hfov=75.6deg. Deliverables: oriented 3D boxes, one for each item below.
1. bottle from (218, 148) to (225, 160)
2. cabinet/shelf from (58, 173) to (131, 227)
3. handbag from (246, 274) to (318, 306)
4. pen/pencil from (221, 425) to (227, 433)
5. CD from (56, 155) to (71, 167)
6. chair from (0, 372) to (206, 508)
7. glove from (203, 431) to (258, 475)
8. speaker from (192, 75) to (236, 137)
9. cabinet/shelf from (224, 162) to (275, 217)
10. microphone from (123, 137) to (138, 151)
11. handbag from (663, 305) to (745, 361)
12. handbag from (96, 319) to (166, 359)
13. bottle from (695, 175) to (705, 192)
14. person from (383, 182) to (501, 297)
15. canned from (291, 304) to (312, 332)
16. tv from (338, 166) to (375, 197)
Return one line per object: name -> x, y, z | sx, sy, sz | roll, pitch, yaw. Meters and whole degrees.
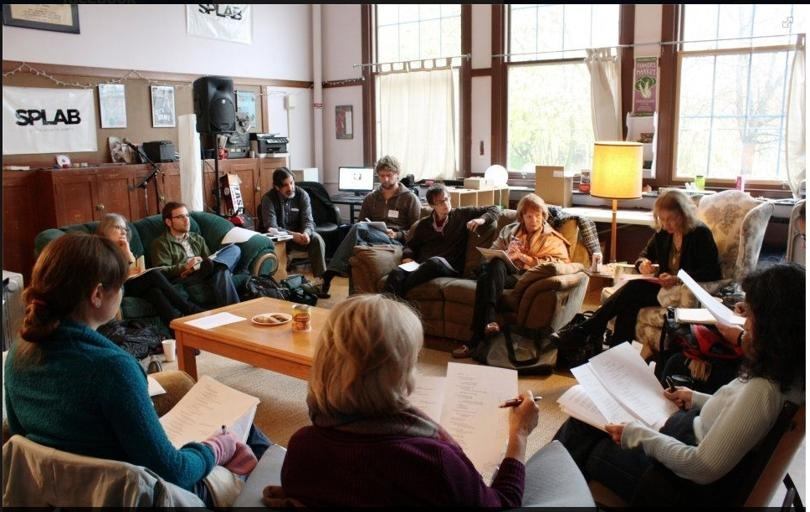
bottle -> -2.550, -1.443, 7.328 | 0.113, 0.137, 0.136 | -1, 0, -10
cabinet/shelf -> -3.575, -0.659, 5.963 | 0.294, 0.702, 0.766 | 4, 8, 36
handbag -> -1.172, 0.309, 4.998 | 0.586, 0.231, 0.346 | 5, 5, 9
pen/pencil -> -0.732, 0.706, 2.136 | 0.026, 0.023, 0.025 | -11, 17, -19
CD -> -4.052, -1.133, 6.213 | 0.167, 0.170, 0.063 | 3, -29, -34
chair -> -1.008, 0.630, 1.856 | 0.416, 0.480, 0.427 | 3, 7, 18
glove -> -0.686, 0.761, 2.079 | 0.174, 0.078, 0.202 | -4, 6, -42
speaker -> -2.360, -1.872, 6.517 | 0.469, 0.698, 0.302 | -4, 11, -21
cabinet/shelf -> -2.214, -0.951, 7.359 | 0.304, 0.815, 0.855 | 4, 15, 29
microphone -> -3.511, -1.445, 6.729 | 0.161, 0.159, 0.327 | -5, 11, -26
handbag -> 1.701, 0.437, 2.946 | 0.282, 0.095, 0.271 | -2, 12, 0
handbag -> -2.126, 0.636, 4.108 | 0.417, 0.141, 0.414 | 13, 6, 21
bottle -> 3.304, -0.822, 5.845 | 0.100, 0.162, 0.377 | 6, 11, 30
person -> 0.200, -0.175, 5.077 | 0.982, 1.105, 1.142 | 4, 3, 30
canned -> -0.667, 0.404, 3.401 | 0.134, 0.164, 0.168 | 1, 1, -1
tv -> -0.688, -1.102, 7.615 | 0.765, 0.512, 0.222 | 1, 2, 18
